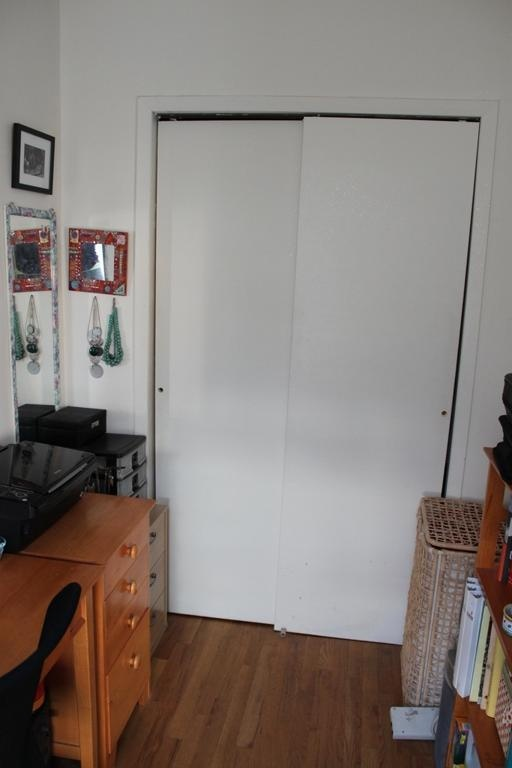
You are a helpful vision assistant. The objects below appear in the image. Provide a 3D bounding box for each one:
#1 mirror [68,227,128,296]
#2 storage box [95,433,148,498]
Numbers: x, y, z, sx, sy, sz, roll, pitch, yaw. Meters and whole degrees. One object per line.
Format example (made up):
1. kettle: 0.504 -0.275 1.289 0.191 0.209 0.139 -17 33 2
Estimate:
1. mirror: -0.586 -0.472 2.253 0.203 0.232 0.023 8 18 12
2. storage box: -0.459 0.284 2.232 0.173 0.268 0.256 1 14 6
